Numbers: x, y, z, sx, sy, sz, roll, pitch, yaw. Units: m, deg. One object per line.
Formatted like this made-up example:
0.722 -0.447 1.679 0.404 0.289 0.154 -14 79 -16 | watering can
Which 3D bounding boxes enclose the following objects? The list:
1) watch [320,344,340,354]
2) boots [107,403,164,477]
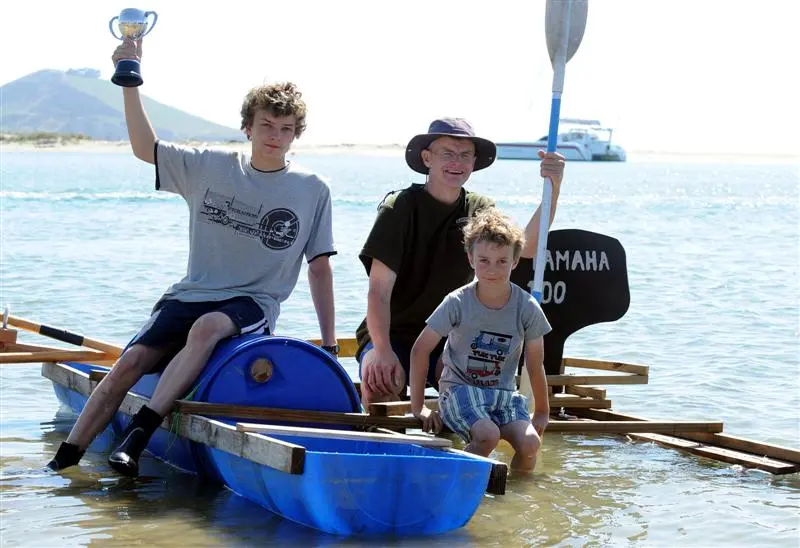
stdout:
-0.624 0.683 10.759 0.114 0.059 0.098 3 4 17 | watch
-2.201 1.341 9.854 0.251 0.475 0.700 23 11 2 | boots
